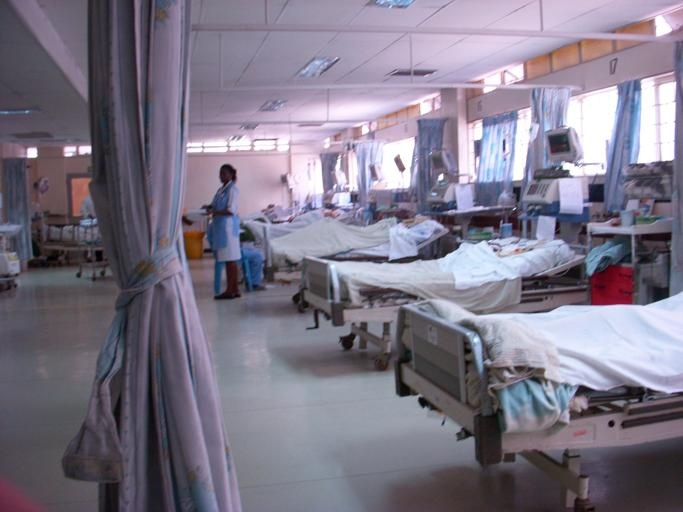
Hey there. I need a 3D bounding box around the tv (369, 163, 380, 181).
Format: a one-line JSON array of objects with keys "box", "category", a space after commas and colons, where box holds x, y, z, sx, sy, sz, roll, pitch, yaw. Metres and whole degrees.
[{"box": [0.732, -1.793, 11.076, 0.090, 0.310, 0.296, -7, 4, -25], "category": "tv"}]

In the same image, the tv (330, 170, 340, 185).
[{"box": [-0.184, -2.066, 13.814, 0.279, 0.520, 0.301, -5, 11, -15], "category": "tv"}]

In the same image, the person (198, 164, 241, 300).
[{"box": [-1.661, -0.342, 7.303, 0.457, 1.877, 0.975, -3, 8, -14], "category": "person"}]

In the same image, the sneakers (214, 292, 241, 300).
[{"box": [-1.629, 0.565, 7.378, 0.358, 0.146, 0.130, 2, -5, -15], "category": "sneakers"}]

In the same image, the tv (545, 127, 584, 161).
[{"box": [2.472, -1.236, 5.812, 0.396, 0.390, 0.250, 3, 8, 29], "category": "tv"}]
